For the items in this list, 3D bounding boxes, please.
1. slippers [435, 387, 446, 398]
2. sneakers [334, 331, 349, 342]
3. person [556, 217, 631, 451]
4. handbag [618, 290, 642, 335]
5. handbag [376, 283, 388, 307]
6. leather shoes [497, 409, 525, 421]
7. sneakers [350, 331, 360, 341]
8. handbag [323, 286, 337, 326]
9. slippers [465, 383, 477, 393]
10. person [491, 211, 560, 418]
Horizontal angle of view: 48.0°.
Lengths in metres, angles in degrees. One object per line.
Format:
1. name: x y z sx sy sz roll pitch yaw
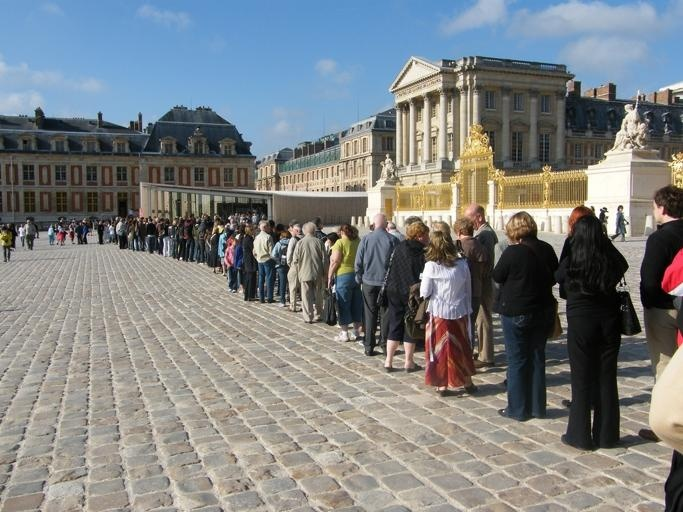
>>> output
1. slippers: 1.108 1.515 8.555 0.107 0.108 0.279 1 3 0
2. sneakers: -0.013 1.184 11.447 0.098 0.184 0.266 -1 5 -38
3. person: 2.342 0.712 7.244 0.590 2.151 0.509 2 10 16
4. handbag: 2.771 0.562 7.382 0.206 0.515 0.537 3 11 22
5. handbag: 0.491 0.506 9.776 0.067 0.246 0.190 14 33 5
6. leather shoes: 1.756 1.621 7.944 0.093 0.102 0.255 6 13 -42
7. sneakers: 0.194 1.192 11.439 0.079 0.131 0.128 1 -30 -11
8. handbag: -0.215 0.783 12.219 0.191 0.490 0.508 -1 11 -14
9. slippers: 1.464 1.484 8.649 0.074 0.074 0.174 1 3 30
10. person: 1.917 0.763 7.897 0.644 1.779 0.369 -3 10 -16
